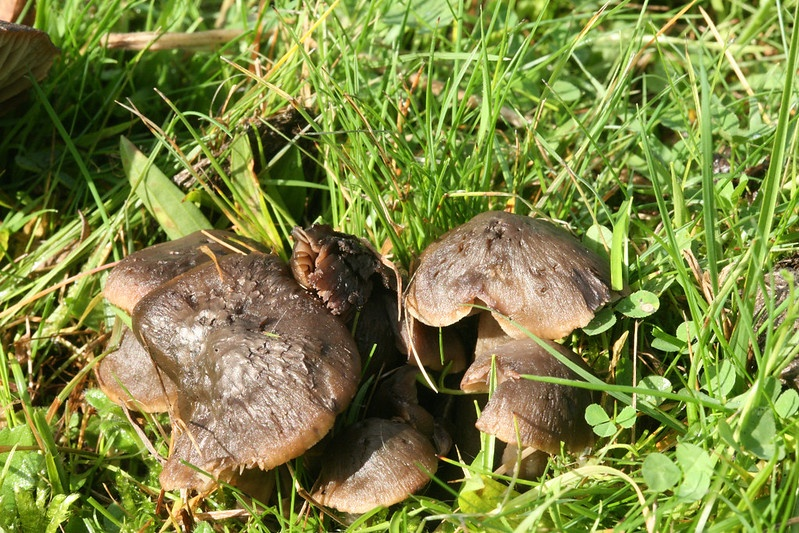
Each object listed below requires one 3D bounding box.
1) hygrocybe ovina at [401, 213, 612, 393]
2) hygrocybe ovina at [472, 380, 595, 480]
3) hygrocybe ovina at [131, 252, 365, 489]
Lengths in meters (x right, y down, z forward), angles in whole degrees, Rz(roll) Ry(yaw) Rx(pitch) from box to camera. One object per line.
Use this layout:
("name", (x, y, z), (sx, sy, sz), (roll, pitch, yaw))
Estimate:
("hygrocybe ovina", (0.430, 0.038, 2.854), (0.743, 0.274, 0.528), (17, 55, 8))
("hygrocybe ovina", (0.459, 0.530, 2.764), (0.324, 0.416, 0.387), (-2, 9, -26))
("hygrocybe ovina", (-0.540, 0.369, 2.781), (0.763, 0.350, 0.778), (-12, 57, -13))
